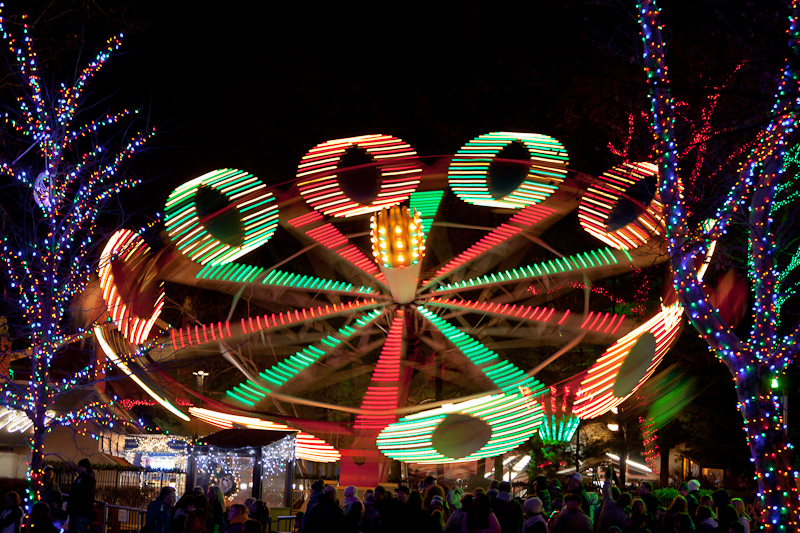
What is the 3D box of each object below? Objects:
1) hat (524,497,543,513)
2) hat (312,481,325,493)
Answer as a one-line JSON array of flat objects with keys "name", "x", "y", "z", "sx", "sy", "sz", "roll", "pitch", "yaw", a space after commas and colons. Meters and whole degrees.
[{"name": "hat", "x": 2.458, "y": 4.376, "z": 15.556, "sx": 0.272, "sy": 0.328, "sz": 0.540, "roll": -5, "pitch": -24, "yaw": 10}, {"name": "hat", "x": -1.573, "y": 4.158, "z": 16.031, "sx": 0.174, "sy": 0.218, "sz": 0.222, "roll": 16, "pitch": -41, "yaw": -5}]
